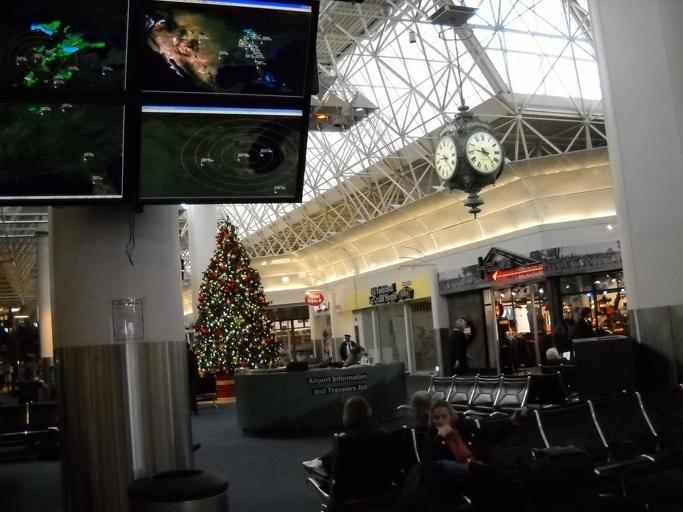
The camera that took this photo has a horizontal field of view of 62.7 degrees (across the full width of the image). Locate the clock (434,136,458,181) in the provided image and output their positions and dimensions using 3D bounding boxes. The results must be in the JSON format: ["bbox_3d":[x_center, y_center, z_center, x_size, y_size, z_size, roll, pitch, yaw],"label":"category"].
[{"bbox_3d":[1.851,-1.744,10.178,0.085,0.792,0.804,8,14,41],"label":"clock"}]

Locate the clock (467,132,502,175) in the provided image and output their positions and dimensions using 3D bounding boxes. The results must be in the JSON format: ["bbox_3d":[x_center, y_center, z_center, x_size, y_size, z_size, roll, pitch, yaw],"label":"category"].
[{"bbox_3d":[2.455,-1.749,9.740,0.719,0.709,0.103,-1,5,-13],"label":"clock"}]

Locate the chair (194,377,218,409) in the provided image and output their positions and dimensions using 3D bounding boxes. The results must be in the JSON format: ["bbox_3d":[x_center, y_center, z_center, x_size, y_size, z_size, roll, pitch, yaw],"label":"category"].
[{"bbox_3d":[-4.665,4.754,19.517,0.886,1.251,1.027,0,-3,-12],"label":"chair"}]

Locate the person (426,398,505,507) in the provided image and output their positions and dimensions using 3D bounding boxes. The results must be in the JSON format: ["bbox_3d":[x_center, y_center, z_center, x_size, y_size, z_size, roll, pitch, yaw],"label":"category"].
[{"bbox_3d":[1.064,1.909,5.356,0.715,0.989,0.439,-2,-10,-21],"label":"person"}]
